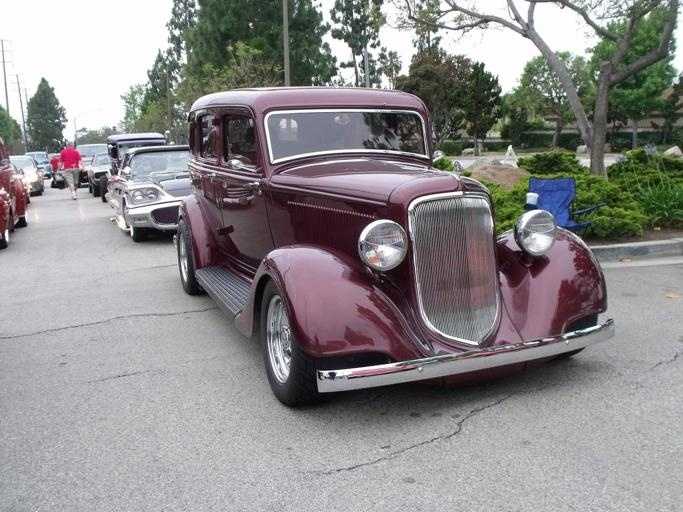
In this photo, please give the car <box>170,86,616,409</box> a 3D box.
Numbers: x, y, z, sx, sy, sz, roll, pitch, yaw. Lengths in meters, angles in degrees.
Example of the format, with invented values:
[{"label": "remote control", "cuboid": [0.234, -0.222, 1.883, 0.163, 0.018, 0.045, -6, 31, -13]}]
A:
[{"label": "car", "cuboid": [0.098, -0.448, 5.026, 2.670, 2.889, 4.414, -11, 14, -35]}]
